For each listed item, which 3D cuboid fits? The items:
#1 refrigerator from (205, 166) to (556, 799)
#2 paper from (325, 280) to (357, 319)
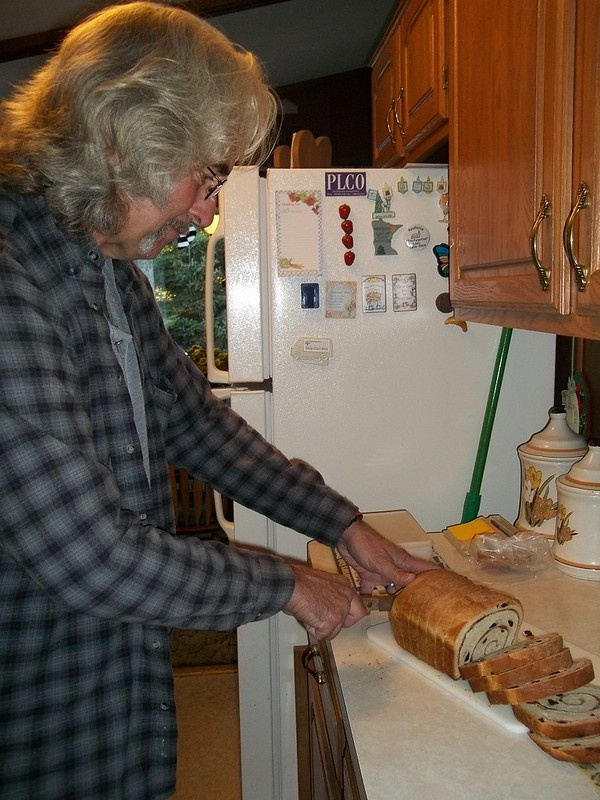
[{"bbox_3d":[0.371,0.060,2.866,1.486,2.797,1.221,0,1,-7],"label":"refrigerator"},{"bbox_3d":[0.099,-0.256,1.564,0.099,0.108,0.015,0,4,-4],"label":"paper"}]
